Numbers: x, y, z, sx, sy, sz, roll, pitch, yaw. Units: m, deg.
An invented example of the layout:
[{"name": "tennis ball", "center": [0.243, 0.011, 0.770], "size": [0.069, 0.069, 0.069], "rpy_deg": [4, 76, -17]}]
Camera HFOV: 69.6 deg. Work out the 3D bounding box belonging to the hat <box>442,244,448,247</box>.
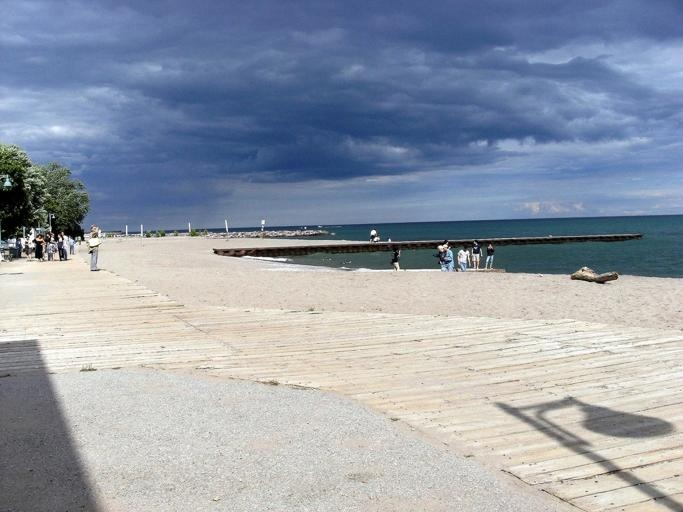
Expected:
[{"name": "hat", "center": [5.630, -0.446, 26.711], "size": [0.205, 0.219, 0.368], "rpy_deg": [1, 1, 14]}]
